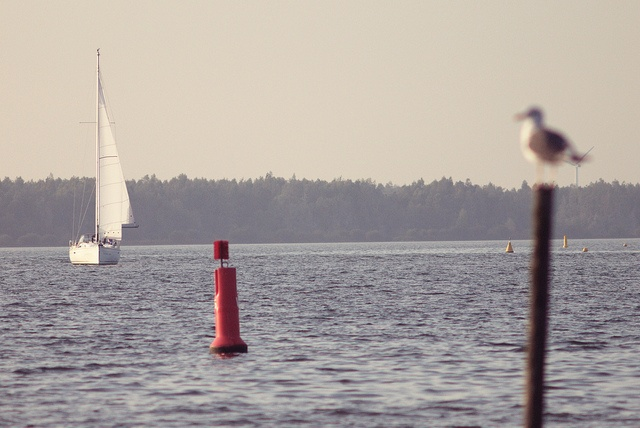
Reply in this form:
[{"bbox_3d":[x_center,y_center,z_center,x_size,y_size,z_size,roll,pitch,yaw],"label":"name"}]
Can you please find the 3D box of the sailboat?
[{"bbox_3d":[-20.737,-5.273,128.954,9.667,19.523,4.131,1,4,43],"label":"sailboat"}]
